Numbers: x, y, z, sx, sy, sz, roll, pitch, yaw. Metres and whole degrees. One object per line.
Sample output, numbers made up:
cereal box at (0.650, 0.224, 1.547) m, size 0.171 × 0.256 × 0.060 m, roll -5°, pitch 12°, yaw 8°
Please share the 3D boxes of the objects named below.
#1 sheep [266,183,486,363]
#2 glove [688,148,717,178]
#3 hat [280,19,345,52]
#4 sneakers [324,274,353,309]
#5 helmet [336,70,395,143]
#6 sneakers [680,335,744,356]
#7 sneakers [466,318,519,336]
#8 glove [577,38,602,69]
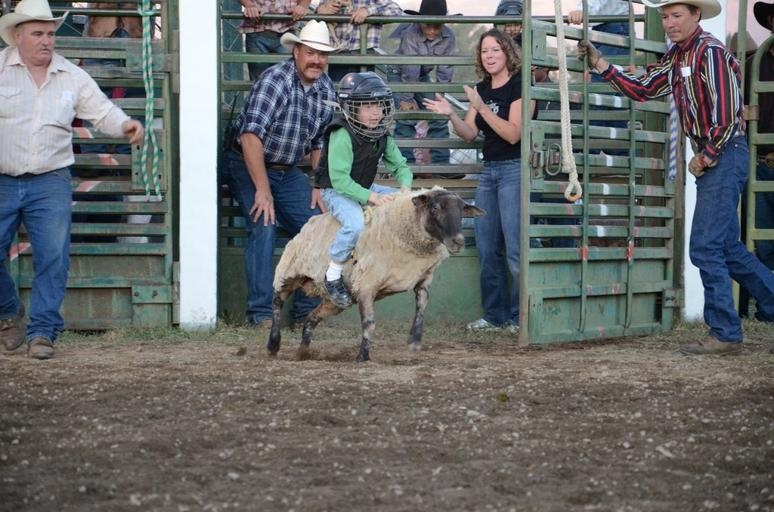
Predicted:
sheep at (-0.091, 0.210, 8.675) m, size 2.344 × 1.581 × 0.800 m, roll -3°, pitch -1°, yaw 39°
glove at (2.848, -0.844, 8.348) m, size 0.165 × 0.112 × 0.226 m, roll 27°, pitch -41°, yaw -28°
hat at (-0.814, -2.175, 9.324) m, size 0.421 × 0.195 × 0.461 m, roll 10°, pitch -1°, yaw -29°
sneakers at (-0.446, 0.312, 8.360) m, size 0.135 × 0.161 × 0.361 m, roll -19°, pitch 33°, yaw -30°
helmet at (-0.229, -1.383, 8.341) m, size 0.429 × 0.553 × 0.581 m, roll -8°, pitch 19°, yaw -31°
sneakers at (2.972, 0.826, 8.534) m, size 0.571 × 0.224 × 0.210 m, roll 3°, pitch -1°, yaw 2°
sneakers at (1.089, 0.728, 9.534) m, size 0.531 × 0.219 × 0.182 m, roll 10°, pitch -5°, yaw -5°
glove at (1.929, -1.944, 8.868) m, size 0.184 × 0.292 × 0.109 m, roll -37°, pitch 12°, yaw 18°
